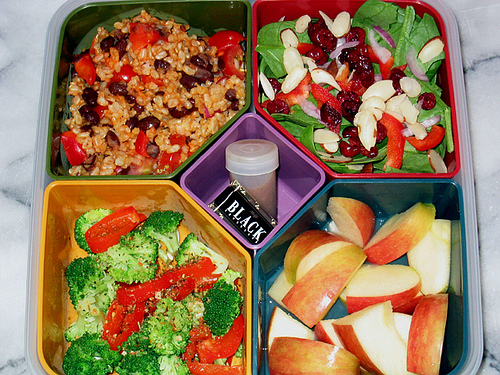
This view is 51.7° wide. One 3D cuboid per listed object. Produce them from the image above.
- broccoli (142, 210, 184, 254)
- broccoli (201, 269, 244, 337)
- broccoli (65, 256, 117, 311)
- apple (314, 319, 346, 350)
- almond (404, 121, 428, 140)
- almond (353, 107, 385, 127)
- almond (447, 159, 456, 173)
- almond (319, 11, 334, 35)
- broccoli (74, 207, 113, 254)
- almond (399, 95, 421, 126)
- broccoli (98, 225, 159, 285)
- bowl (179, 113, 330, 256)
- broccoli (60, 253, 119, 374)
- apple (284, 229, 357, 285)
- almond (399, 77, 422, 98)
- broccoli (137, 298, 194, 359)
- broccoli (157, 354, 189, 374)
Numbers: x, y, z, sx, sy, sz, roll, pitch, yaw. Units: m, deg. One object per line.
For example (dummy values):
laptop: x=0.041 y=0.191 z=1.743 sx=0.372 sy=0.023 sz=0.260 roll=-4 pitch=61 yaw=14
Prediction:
broccoli: x=-0.423 y=0.197 z=2.653 sx=0.204 sy=0.196 sz=0.216 roll=-45 pitch=95 yaw=-11
broccoli: x=-0.134 y=0.546 z=2.408 sx=0.146 sy=0.088 sz=0.288 roll=-3 pitch=65 yaw=17
broccoli: x=-0.761 y=0.412 z=2.533 sx=0.233 sy=0.104 sz=0.271 roll=29 pitch=110 yaw=-15
apple: x=0.371 y=0.665 z=2.400 sx=0.040 sy=0.108 sz=0.113 roll=-28 pitch=101 yaw=6
almond: x=0.840 y=-0.301 z=2.605 sx=0.072 sy=0.033 sz=0.125 roll=-36 pitch=71 yaw=-10
almond: x=0.594 y=-0.354 z=2.570 sx=0.164 sy=0.055 sz=0.072 roll=-13 pitch=67 yaw=-1
almond: x=0.990 y=-0.104 z=2.536 sx=0.015 sy=0.037 sz=0.048 roll=18 pitch=78 yaw=-15
almond: x=0.399 y=-0.868 z=2.724 sx=0.032 sy=0.019 sz=0.151 roll=-33 pitch=66 yaw=28
broccoli: x=-0.803 y=0.205 z=2.569 sx=0.175 sy=0.057 sz=0.207 roll=-19 pitch=81 yaw=-14
almond: x=0.795 y=-0.399 z=2.601 sx=0.070 sy=0.035 sz=0.159 roll=-16 pitch=96 yaw=23
broccoli: x=-0.572 y=0.297 z=2.413 sx=0.226 sy=0.078 sz=0.249 roll=1 pitch=68 yaw=-8
bowl: x=0.014 y=-0.015 z=2.758 sx=0.675 sy=0.428 sz=0.675 roll=0 pitch=84 yaw=1
broccoli: x=-0.758 y=0.589 z=2.503 sx=0.271 sy=0.164 sz=0.532 roll=-9 pitch=82 yaw=8
apple: x=0.334 y=0.340 z=2.521 sx=0.154 sy=0.269 sz=0.287 roll=20 pitch=74 yaw=29
almond: x=0.819 y=-0.501 z=2.615 sx=0.074 sy=0.024 sz=0.106 roll=-40 pitch=89 yaw=-1
broccoli: x=-0.376 y=0.647 z=2.408 sx=0.203 sy=0.065 sz=0.272 roll=9 pitch=79 yaw=-2
broccoli: x=-0.358 y=0.813 z=2.364 sx=0.088 sy=0.027 sz=0.111 roll=-11 pitch=91 yaw=-6
